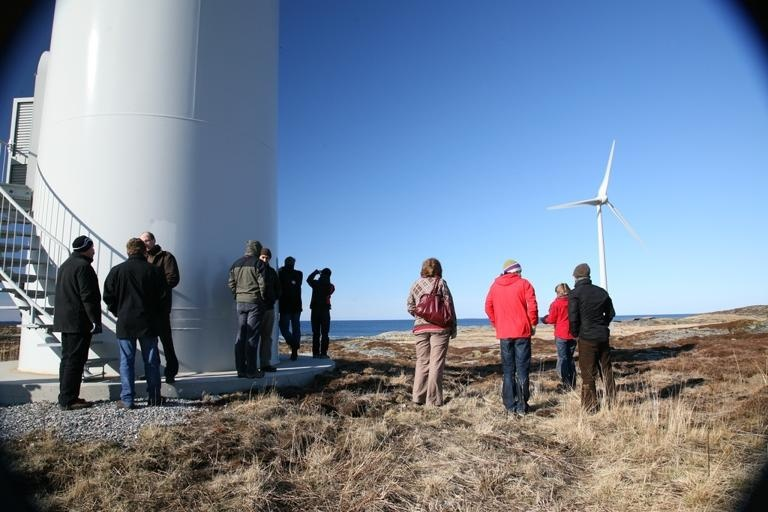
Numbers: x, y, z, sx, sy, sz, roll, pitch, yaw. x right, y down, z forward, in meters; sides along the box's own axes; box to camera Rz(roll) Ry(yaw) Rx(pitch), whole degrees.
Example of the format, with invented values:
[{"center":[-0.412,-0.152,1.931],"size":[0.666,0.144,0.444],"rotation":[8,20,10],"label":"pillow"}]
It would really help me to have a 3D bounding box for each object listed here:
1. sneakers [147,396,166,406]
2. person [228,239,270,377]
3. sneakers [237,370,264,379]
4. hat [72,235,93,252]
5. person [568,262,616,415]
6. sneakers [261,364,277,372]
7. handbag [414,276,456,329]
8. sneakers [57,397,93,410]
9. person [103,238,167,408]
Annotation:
[{"center":[-4.200,2.674,10.614],"size":[0.245,0.108,0.194],"rotation":[1,-2,-11],"label":"sneakers"},{"center":[-2.782,1.100,11.864],"size":[0.549,2.690,0.764],"rotation":[-4,12,-35],"label":"person"},{"center":[-2.721,2.423,11.816],"size":[0.529,0.267,0.203],"rotation":[-1,-1,-14],"label":"sneakers"},{"center":[-5.499,-0.222,10.538],"size":[0.266,0.257,0.306],"rotation":[3,26,21],"label":"hat"},{"center":[4.072,1.659,11.441],"size":[0.806,2.885,0.761],"rotation":[-3,-1,-10],"label":"person"},{"center":[-2.502,2.441,12.539],"size":[0.350,0.172,0.125],"rotation":[1,-2,-1],"label":"sneakers"},{"center":[0.968,0.933,11.240],"size":[0.756,0.922,0.338],"rotation":[4,10,3],"label":"handbag"},{"center":[-5.437,2.636,10.225],"size":[0.576,0.269,0.207],"rotation":[-1,4,-31],"label":"sneakers"},{"center":[-4.531,1.235,10.572],"size":[1.037,2.940,1.027],"rotation":[0,10,-18],"label":"person"}]
